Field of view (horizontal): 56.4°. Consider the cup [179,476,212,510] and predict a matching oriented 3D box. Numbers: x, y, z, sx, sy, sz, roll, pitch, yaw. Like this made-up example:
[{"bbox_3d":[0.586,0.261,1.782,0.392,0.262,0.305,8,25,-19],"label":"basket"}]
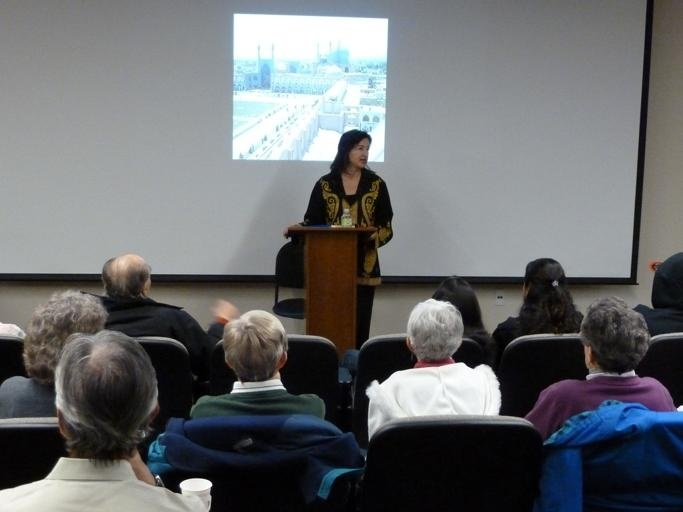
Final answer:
[{"bbox_3d":[-0.441,0.710,1.944,0.099,0.122,0.111,0,1,-2],"label":"cup"}]
